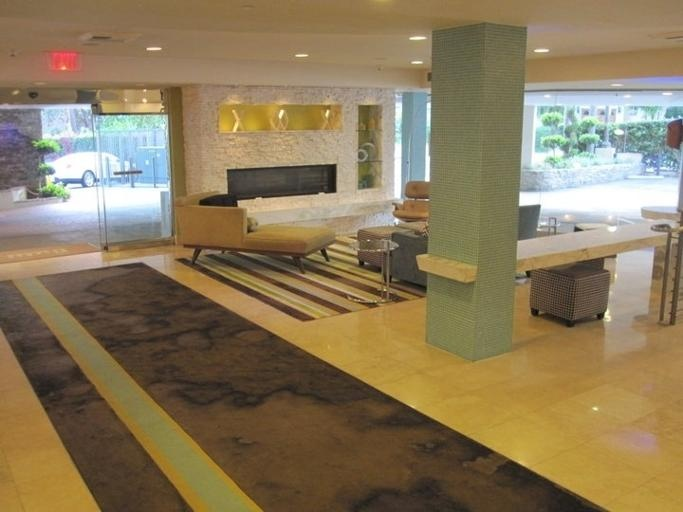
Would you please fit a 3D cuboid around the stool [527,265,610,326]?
[{"bbox_3d":[3.025,0.497,6.571,1.058,0.638,0.952,-10,17,-30],"label":"stool"}]

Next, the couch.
[{"bbox_3d":[2.336,-0.137,7.785,3.141,1.222,1.396,-6,13,-21],"label":"couch"}]

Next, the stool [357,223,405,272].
[{"bbox_3d":[0.510,-0.149,8.639,1.056,0.613,0.927,-8,16,-34],"label":"stool"}]

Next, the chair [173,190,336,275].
[{"bbox_3d":[-1.563,-0.432,9.065,2.650,0.913,1.570,5,11,16],"label":"chair"}]

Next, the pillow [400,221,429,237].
[{"bbox_3d":[1.302,-0.498,8.476,0.492,0.108,0.415,-4,14,-23],"label":"pillow"}]
